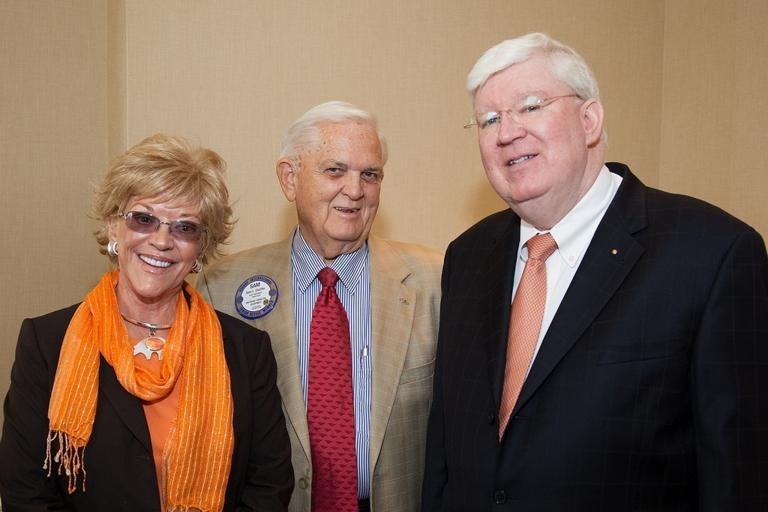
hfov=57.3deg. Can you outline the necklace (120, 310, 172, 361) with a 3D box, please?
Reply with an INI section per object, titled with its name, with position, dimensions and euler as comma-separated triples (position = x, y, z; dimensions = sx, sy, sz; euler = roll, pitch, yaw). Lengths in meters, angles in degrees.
[necklace]
position = -1.165, 0.397, 3.528
dimensions = 0.207, 0.266, 0.023
euler = -1, 27, -15
